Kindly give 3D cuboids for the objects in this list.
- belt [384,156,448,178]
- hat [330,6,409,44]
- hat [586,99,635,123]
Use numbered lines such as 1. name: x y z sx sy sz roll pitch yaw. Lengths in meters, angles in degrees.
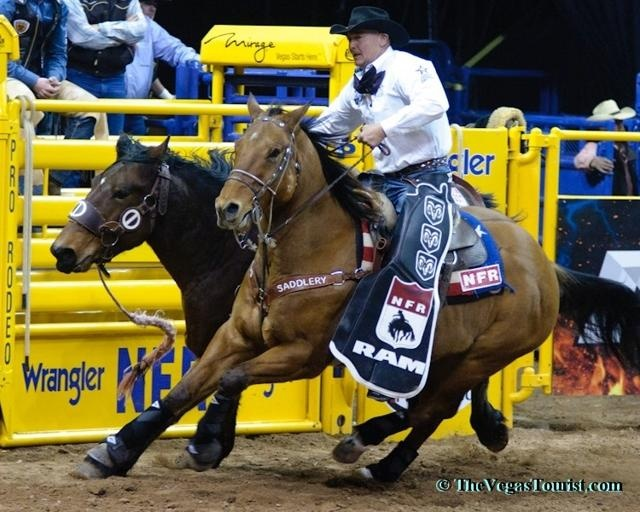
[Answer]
1. belt: 0.676 -0.604 9.071 0.247 0.066 0.202 -14 5 -3
2. hat: 0.364 -1.594 8.927 0.368 0.123 0.308 6 -6 -9
3. hat: 2.940 -1.475 13.727 0.287 0.115 0.329 -17 3 -39
